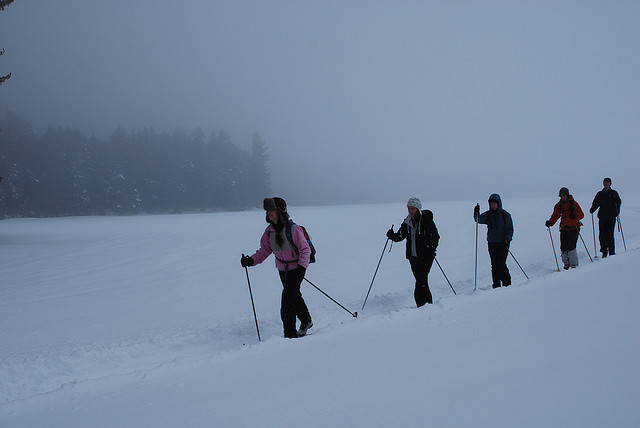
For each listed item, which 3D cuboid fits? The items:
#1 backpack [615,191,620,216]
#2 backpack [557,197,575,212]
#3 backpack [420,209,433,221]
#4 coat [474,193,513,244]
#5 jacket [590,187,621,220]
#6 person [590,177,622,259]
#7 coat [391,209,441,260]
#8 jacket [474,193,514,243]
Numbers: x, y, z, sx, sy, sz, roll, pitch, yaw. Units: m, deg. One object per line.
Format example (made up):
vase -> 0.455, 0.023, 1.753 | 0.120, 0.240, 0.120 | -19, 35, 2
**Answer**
backpack -> 9.763, -0.337, 16.871 | 0.128, 0.671, 0.408 | 5, 10, 28
backpack -> 7.473, -0.274, 15.607 | 0.269, 0.434, 0.376 | -17, -1, 28
backpack -> 2.641, 0.025, 12.772 | 0.208, 0.234, 0.053 | 22, -32, -14
coat -> 4.782, 0.108, 14.002 | 0.912, 1.327, 0.672 | 4, 9, 18
jacket -> 9.196, -0.303, 16.499 | 0.804, 0.973, 0.609 | -3, -12, 30
person -> 9.316, 0.078, 16.782 | 0.780, 2.589, 1.151 | 6, 10, 30
coat -> 2.395, 0.505, 12.880 | 1.035, 1.204, 0.673 | 4, 15, 20
jacket -> 4.772, 0.462, 14.090 | 0.974, 1.997, 0.672 | 0, -7, 20
